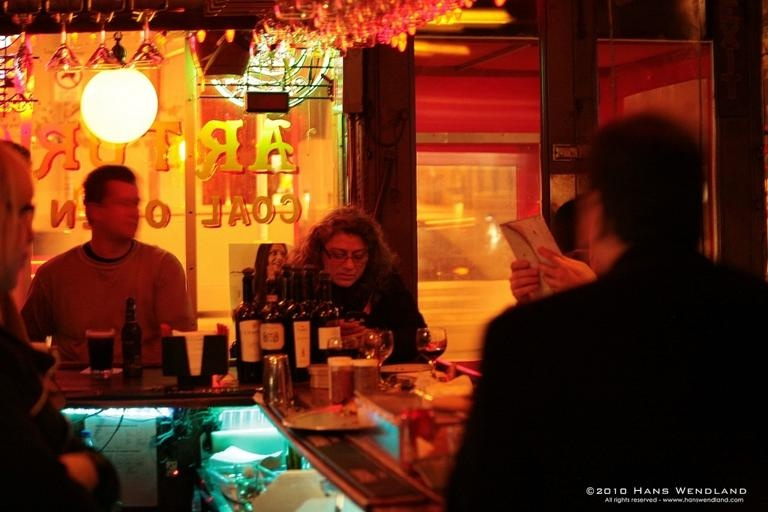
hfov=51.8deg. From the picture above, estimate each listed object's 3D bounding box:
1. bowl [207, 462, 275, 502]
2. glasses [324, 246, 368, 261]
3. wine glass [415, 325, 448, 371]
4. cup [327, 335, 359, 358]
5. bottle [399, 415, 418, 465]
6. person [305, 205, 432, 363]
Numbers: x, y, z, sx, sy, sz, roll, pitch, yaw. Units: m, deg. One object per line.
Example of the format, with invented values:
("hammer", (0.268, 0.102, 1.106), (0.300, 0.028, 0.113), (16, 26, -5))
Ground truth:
("bowl", (-0.651, 1.025, 3.596), (0.202, 0.081, 0.205), (3, -1, 0))
("glasses", (-0.232, -0.010, 4.816), (0.251, 0.076, 0.072), (-4, 1, -6))
("wine glass", (0.220, 0.465, 3.994), (0.161, 0.242, 0.158), (5, -5, -28))
("cup", (-0.200, 0.461, 4.000), (0.126, 0.122, 0.126), (0, -5, 0))
("bottle", (0.089, 0.683, 2.943), (0.071, 0.178, 0.023), (-3, 0, 20))
("person", (-0.102, 0.163, 4.760), (0.716, 1.206, 0.660), (-8, -9, -4))
